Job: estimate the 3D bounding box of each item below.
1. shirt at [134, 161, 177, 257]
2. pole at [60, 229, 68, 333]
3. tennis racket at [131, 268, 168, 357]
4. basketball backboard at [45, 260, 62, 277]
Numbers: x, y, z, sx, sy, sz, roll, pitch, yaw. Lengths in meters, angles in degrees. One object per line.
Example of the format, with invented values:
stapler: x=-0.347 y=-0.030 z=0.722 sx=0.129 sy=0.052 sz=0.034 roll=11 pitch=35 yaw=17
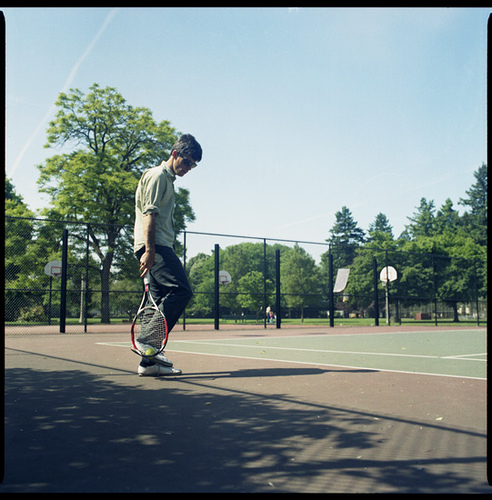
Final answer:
shirt: x=-0.890 y=-0.437 z=6.079 sx=0.415 sy=0.957 sz=0.609 roll=3 pitch=-5 yaw=-9
pole: x=-4.691 y=0.780 z=15.799 sx=0.186 sy=2.617 sz=0.764 roll=3 pitch=-5 yaw=-16
tennis racket: x=-0.935 y=0.537 z=5.877 sx=0.334 sy=0.956 sz=0.067 roll=4 pitch=-37 yaw=-18
basketball backboard: x=-7.482 y=0.698 z=23.858 sx=0.339 sy=0.628 sz=0.616 roll=0 pitch=-10 yaw=-23
